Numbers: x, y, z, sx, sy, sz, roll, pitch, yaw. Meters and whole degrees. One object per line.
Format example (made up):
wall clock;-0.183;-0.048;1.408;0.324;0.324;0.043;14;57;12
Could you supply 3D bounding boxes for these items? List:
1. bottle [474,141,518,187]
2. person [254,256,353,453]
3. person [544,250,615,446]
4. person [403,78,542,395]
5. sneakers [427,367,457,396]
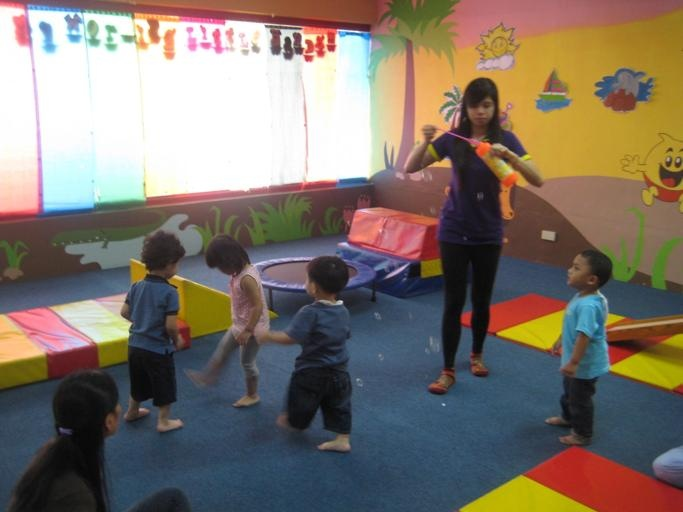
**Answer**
bottle;1.015;-0.570;3.218;0.379;0.102;0.102;33;48;6
person;-0.190;0.509;2.900;0.467;0.967;0.301;-1;19;-3
person;1.382;0.542;2.959;0.314;1.117;0.423;9;21;26
person;0.857;-0.126;3.512;0.661;2.059;0.636;-9;21;-23
sneakers;0.677;0.865;3.538;0.093;0.107;0.261;-1;-4;29
